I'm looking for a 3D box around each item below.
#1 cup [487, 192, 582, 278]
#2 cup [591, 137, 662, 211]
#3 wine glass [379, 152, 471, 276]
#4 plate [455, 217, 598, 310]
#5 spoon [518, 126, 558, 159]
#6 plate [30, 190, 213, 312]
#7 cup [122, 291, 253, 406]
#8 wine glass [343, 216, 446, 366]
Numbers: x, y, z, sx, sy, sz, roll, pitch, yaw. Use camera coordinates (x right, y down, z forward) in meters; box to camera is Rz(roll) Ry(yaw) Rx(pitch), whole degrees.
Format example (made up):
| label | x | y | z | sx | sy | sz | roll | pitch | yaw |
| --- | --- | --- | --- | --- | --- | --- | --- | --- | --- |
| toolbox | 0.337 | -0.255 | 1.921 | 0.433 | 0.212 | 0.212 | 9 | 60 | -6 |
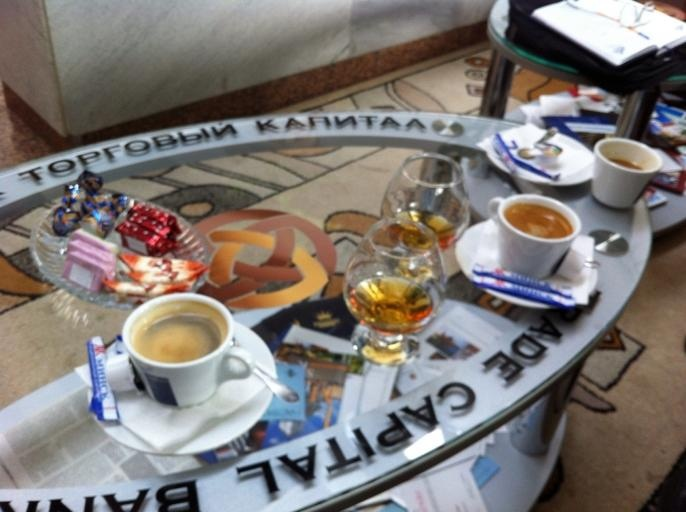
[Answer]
| label | x | y | z | sx | sy | sz | roll | pitch | yaw |
| --- | --- | --- | --- | --- | --- | --- | --- | --- | --- |
| cup | 0.293 | -0.043 | 0.836 | 0.144 | 0.100 | 0.123 | 32 | 50 | 33 |
| cup | 0.535 | -0.157 | 0.956 | 0.121 | 0.093 | 0.124 | 0 | 41 | 0 |
| wine glass | 0.144 | -0.088 | 0.889 | 0.152 | 0.176 | 0.145 | 21 | 27 | 13 |
| plate | 0.338 | -0.008 | 0.835 | 0.212 | 0.079 | 0.200 | 8 | 13 | -41 |
| spoon | 0.404 | -0.235 | 1.029 | 0.052 | 0.014 | 0.099 | 19 | 54 | 23 |
| plate | -0.350 | -0.013 | 0.777 | 0.212 | 0.056 | 0.229 | -11 | 53 | -33 |
| cup | -0.192 | 0.127 | 0.630 | 0.151 | 0.090 | 0.119 | 5 | 37 | -13 |
| wine glass | 0.077 | 0.058 | 0.764 | 0.163 | 0.233 | 0.161 | -1 | 33 | 1 |
